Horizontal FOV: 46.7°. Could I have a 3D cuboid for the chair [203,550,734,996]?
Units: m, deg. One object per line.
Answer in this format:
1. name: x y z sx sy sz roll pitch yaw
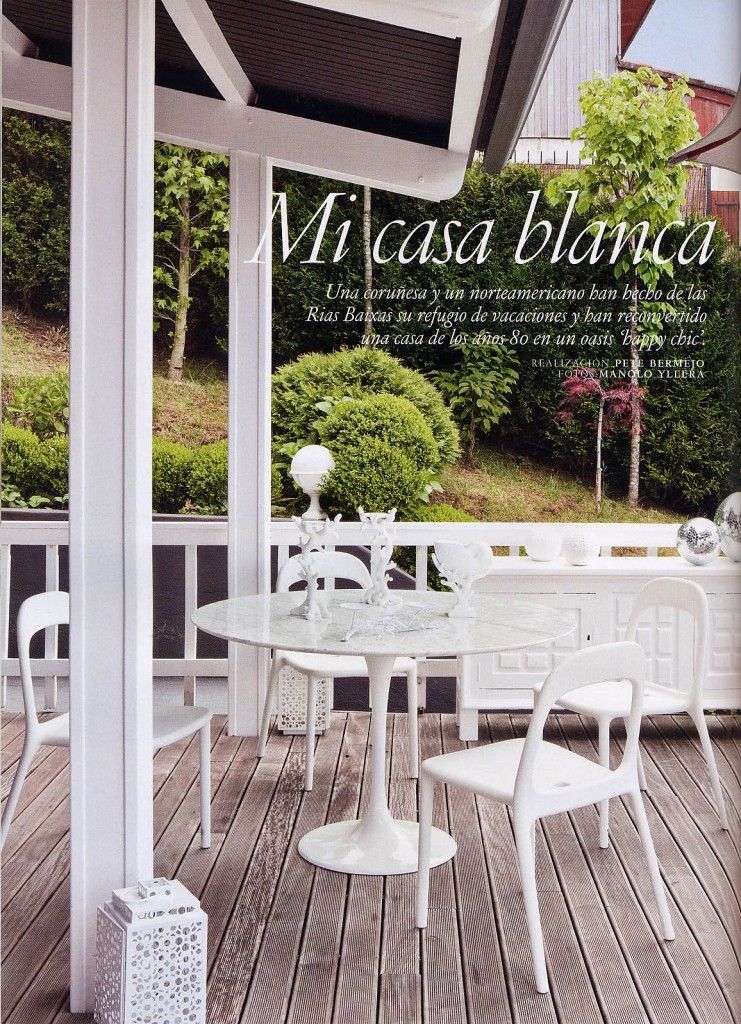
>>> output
1. chair: 0.161 0.528 2.216 1.114 0.661 0.808 0 0 41
